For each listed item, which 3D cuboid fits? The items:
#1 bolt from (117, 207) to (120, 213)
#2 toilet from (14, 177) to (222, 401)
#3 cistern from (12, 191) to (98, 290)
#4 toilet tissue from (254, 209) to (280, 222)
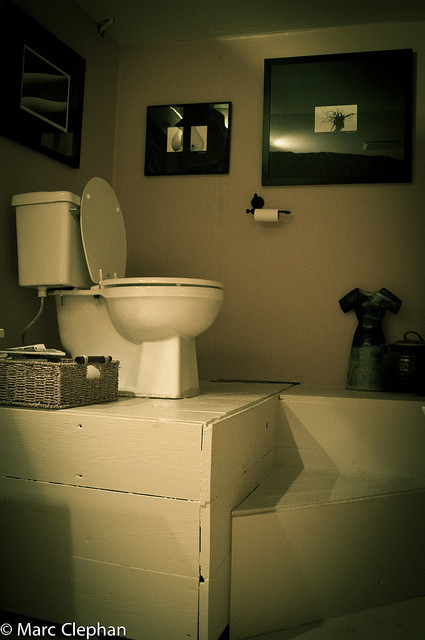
[{"bbox_3d":[-0.352,-0.412,1.982,0.009,0.019,0.010,-2,-2,4],"label":"bolt"},{"bbox_3d":[-0.296,-0.110,1.779,0.618,0.730,0.388,-1,-1,16],"label":"toilet"},{"bbox_3d":[-0.560,-0.258,1.855,0.211,0.295,0.293,-4,-2,2],"label":"cistern"},{"bbox_3d":[0.242,-0.466,2.357,0.095,0.047,0.052,0,-32,9],"label":"toilet tissue"}]
